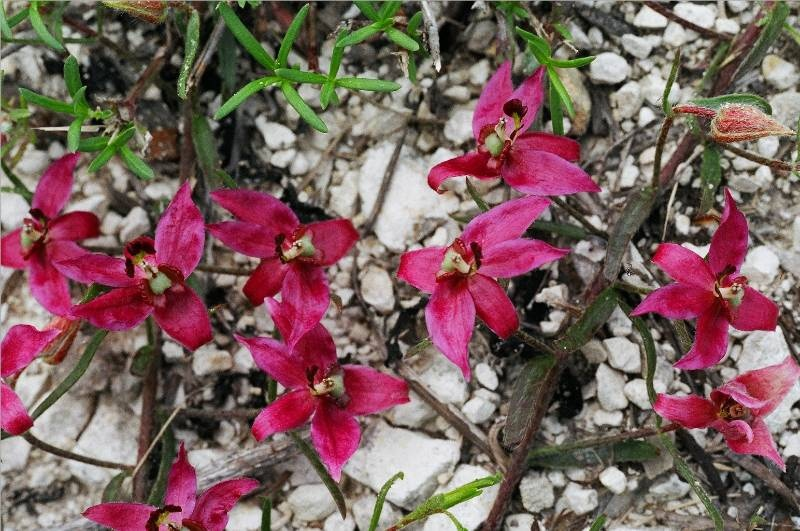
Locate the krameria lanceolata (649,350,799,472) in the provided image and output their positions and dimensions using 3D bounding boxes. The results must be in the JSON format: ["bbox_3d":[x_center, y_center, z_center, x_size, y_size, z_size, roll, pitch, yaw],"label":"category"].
[{"bbox_3d":[1.032,0.432,2.618,0.393,0.359,0.174,52,-8,7],"label":"krameria lanceolata"}]

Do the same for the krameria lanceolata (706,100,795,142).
[{"bbox_3d":[1.055,-0.441,2.448,0.189,0.123,0.075,8,-77,24],"label":"krameria lanceolata"}]

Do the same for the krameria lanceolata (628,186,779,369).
[{"bbox_3d":[0.941,0.030,2.449,0.475,0.492,0.171,47,-16,-3],"label":"krameria lanceolata"}]
